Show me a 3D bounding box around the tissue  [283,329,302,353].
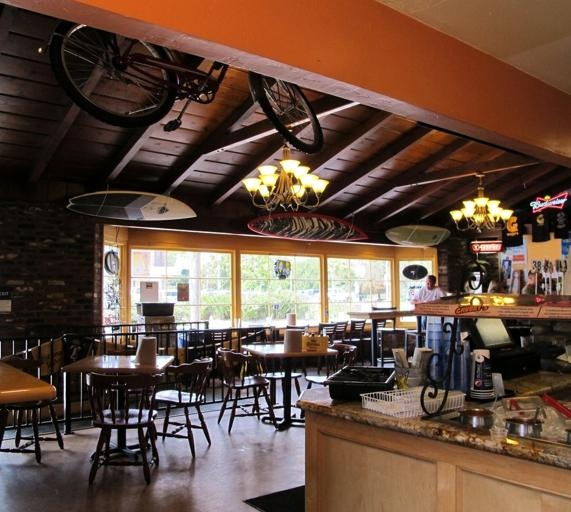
[{"bbox_3d":[0.057,0.921,5.389,0.273,0.224,0.234,1,-4,-16],"label":"tissue "}]

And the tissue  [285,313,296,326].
[{"bbox_3d":[0.094,1.024,7.973,0.228,0.186,0.193,0,-3,-1],"label":"tissue "}]

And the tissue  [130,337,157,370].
[{"bbox_3d":[-1.220,0.829,4.345,0.168,0.238,0.215,1,-4,-15],"label":"tissue "}]

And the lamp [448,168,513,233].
[{"bbox_3d":[3.314,-0.879,8.389,1.061,0.852,1.038,1,-1,-40],"label":"lamp"}]

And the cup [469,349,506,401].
[{"bbox_3d":[0.998,0.581,2.450,0.163,0.245,0.197,-1,-5,19],"label":"cup"}]
